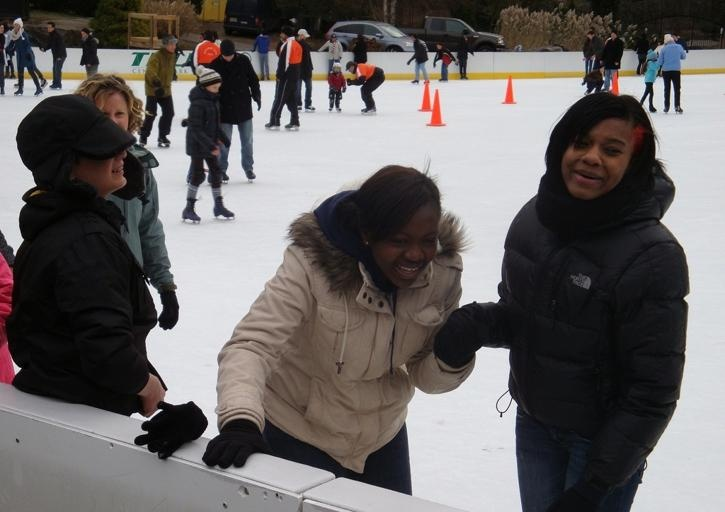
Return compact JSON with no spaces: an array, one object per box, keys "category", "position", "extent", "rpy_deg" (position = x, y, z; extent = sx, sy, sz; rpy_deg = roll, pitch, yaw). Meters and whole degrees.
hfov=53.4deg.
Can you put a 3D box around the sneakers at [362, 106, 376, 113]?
[{"category":"sneakers","position":[0.155,-3.079,15.394],"extent":[0.305,0.131,0.105],"rpy_deg":[4,55,9]}]

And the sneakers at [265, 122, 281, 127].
[{"category":"sneakers","position":[-1.615,-2.346,13.092],"extent":[0.242,0.114,0.406],"rpy_deg":[-1,10,-11]}]

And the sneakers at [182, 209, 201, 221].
[{"category":"sneakers","position":[-1.610,-0.379,6.805],"extent":[0.173,0.123,0.150],"rpy_deg":[0,11,-9]}]

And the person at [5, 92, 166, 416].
[{"category":"person","position":[-0.818,0.041,2.106],"extent":[0.430,0.996,0.369],"rpy_deg":[-1,11,-14]}]

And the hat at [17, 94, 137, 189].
[{"category":"hat","position":[-0.862,-0.387,2.175],"extent":[0.351,0.196,0.258],"rpy_deg":[-15,26,10]}]

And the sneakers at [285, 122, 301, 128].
[{"category":"sneakers","position":[-1.249,-2.323,12.966],"extent":[0.243,0.114,0.333],"rpy_deg":[0,10,-6]}]

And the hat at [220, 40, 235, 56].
[{"category":"hat","position":[-1.603,-2.471,8.628],"extent":[0.165,0.176,0.206],"rpy_deg":[0,22,-2]}]

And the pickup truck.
[{"category":"pickup truck","position":[3.492,-9.041,28.791],"extent":[4.205,1.418,1.840],"rpy_deg":[2,16,6]}]
